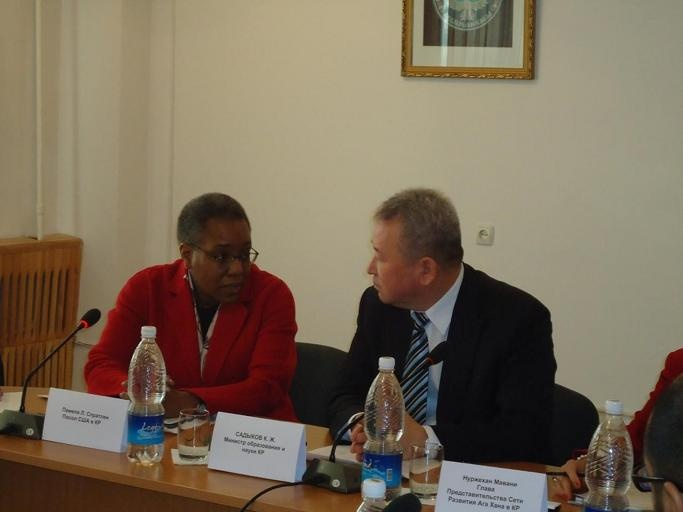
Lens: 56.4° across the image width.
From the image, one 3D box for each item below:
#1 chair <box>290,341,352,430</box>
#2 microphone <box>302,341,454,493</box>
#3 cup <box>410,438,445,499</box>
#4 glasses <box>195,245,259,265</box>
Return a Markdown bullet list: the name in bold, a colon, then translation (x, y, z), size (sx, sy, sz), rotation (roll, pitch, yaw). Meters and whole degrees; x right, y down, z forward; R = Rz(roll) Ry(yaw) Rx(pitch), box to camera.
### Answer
- **chair**: translation (-0.056, 0.491, 2.402), size (0.227, 0.321, 0.263), rotation (4, -7, 16)
- **microphone**: translation (0.027, 0.502, 2.202), size (0.260, 0.503, 0.309), rotation (5, -9, 12)
- **cup**: translation (0.195, 0.504, 1.491), size (0.077, 0.146, 0.048), rotation (3, 0, 17)
- **glasses**: translation (-0.372, -0.003, 2.249), size (0.163, 0.059, 0.265), rotation (3, -2, 31)
